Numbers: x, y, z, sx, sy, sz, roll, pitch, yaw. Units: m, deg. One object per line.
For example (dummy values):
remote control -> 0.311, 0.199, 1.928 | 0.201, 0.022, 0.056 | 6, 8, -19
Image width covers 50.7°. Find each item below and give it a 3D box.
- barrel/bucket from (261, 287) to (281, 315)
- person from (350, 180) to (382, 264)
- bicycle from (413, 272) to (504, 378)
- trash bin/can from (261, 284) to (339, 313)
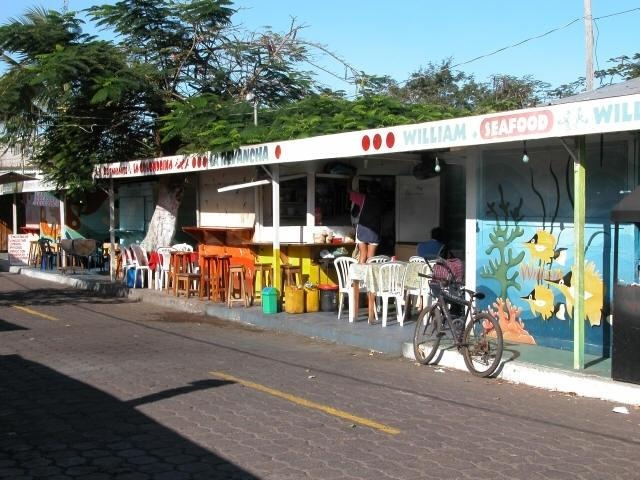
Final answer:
barrel/bucket -> -1.071, 1.314, 14.584 | 0.397, 0.558, 0.370 | 2, -1, 0
person -> 1.071, -0.424, 15.384 | 0.683, 1.893, 1.443 | 2, -2, -11
bicycle -> 2.161, 1.381, 10.670 | 1.086, 1.398, 2.325 | 7, -4, -26
trash bin/can -> -0.333, 1.287, 14.676 | 1.030, 0.554, 0.614 | 1, -6, -27
